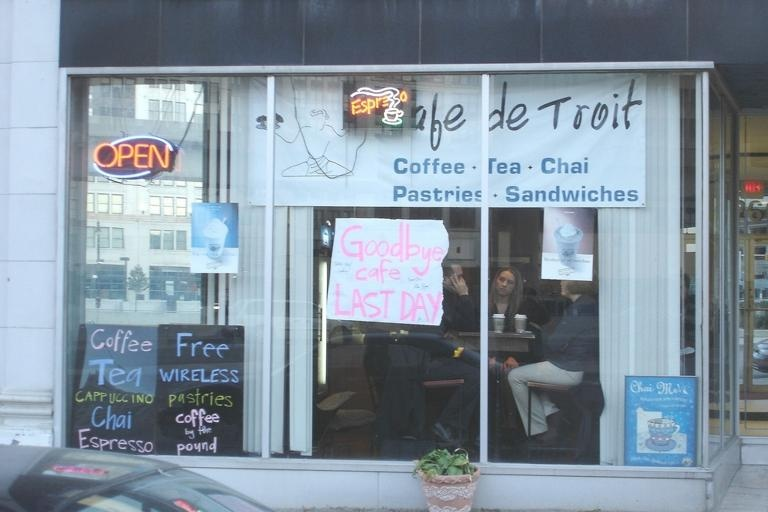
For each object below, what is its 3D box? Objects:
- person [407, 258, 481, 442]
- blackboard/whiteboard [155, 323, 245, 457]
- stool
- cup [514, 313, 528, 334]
[{"bbox_3d":[0.675,1.181,14.806,0.913,2.125,0.545,-11,30,-1],"label":"person"},{"bbox_3d":[-2.096,1.618,14.802,1.431,1.976,0.163,0,-4,-2],"label":"blackboard/whiteboard"},{"bbox_3d":[1.582,1.959,14.992,1.429,0.703,0.790,0,1,5],"label":"stool"},{"bbox_3d":[1.587,0.779,14.696,0.185,0.231,0.168,4,-3,7],"label":"cup"}]
